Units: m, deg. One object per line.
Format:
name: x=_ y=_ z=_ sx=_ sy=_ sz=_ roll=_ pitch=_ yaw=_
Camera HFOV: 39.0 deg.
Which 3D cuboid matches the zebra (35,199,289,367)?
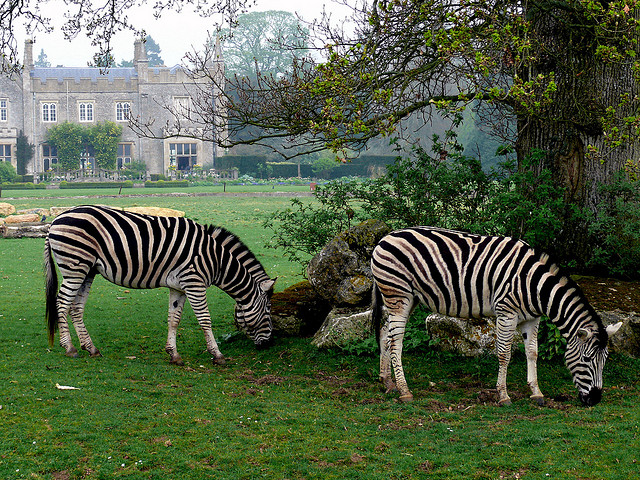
zebra: x=-2.781 y=0.732 z=16.246 sx=4.247 sy=2.652 sz=2.752 roll=1 pitch=1 yaw=-4
